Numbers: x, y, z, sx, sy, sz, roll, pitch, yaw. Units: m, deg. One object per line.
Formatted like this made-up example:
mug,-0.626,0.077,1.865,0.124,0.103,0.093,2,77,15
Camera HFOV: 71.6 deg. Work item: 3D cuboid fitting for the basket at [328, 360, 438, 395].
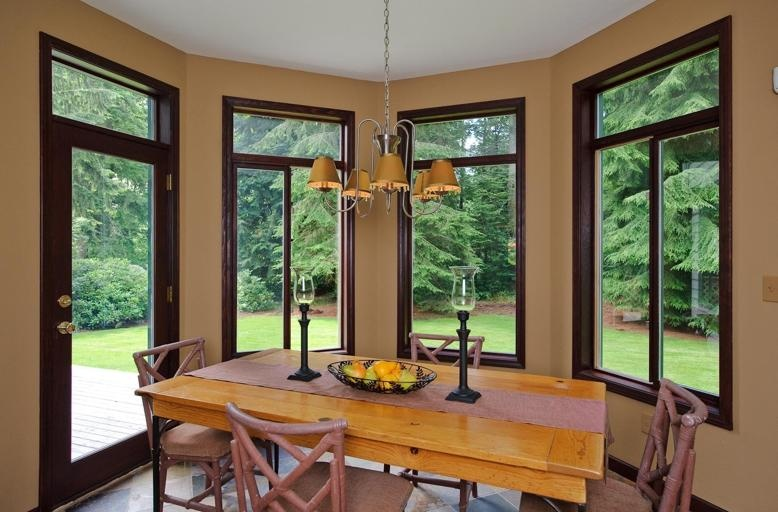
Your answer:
basket,0.010,0.738,3.394,0.342,0.081,0.343,3,9,0

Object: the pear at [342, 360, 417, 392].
pear,-0.055,0.700,3.402,0.400,0.163,0.432,2,1,35

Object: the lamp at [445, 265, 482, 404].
lamp,0.473,0.492,3.322,0.295,0.813,0.256,2,-2,-18
